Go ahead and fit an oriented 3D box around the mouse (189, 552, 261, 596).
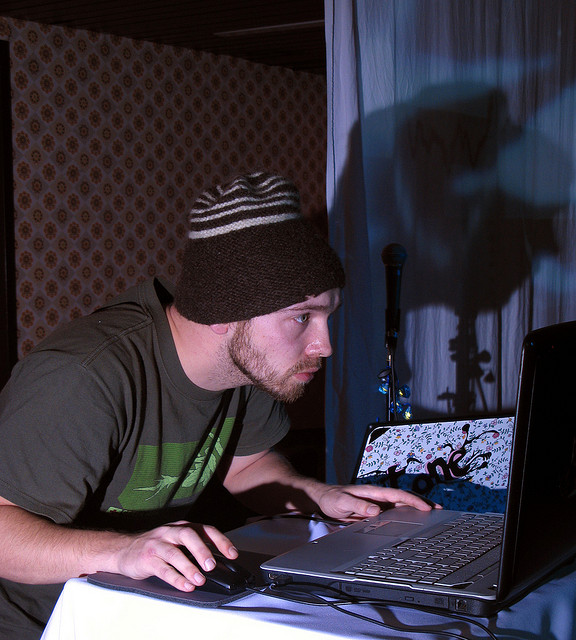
[{"bbox_3d":[-0.059,0.260,0.640,0.053,0.015,0.040,4,5,38],"label":"mouse"}]
